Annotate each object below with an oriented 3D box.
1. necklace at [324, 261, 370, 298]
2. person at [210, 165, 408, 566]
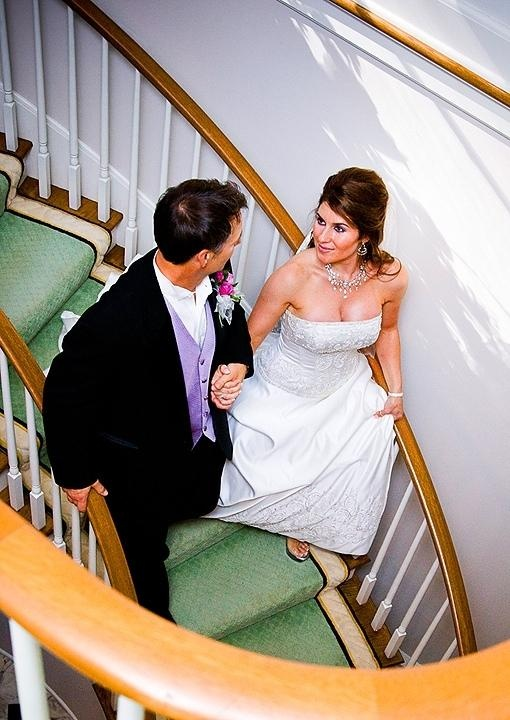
[{"bbox_3d":[0.379,-0.347,2.310,0.200,0.149,0.036,10,26,-23],"label":"necklace"},{"bbox_3d":[0.211,0.126,2.501,0.915,1.901,0.612,2,35,0],"label":"person"}]
